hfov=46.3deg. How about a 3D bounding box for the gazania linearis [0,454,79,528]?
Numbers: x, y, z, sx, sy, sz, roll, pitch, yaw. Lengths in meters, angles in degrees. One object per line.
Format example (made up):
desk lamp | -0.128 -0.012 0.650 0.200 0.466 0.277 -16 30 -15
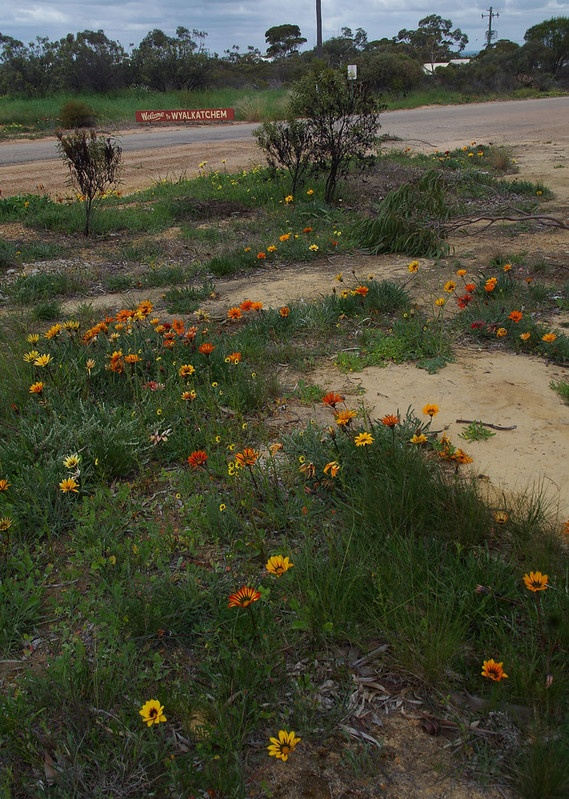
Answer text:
gazania linearis | -1.054 0.419 3.079 0.367 0.225 0.361 2 47 8

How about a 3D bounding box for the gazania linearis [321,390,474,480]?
gazania linearis | 0.575 0.204 3.442 0.509 0.235 0.518 5 13 8
